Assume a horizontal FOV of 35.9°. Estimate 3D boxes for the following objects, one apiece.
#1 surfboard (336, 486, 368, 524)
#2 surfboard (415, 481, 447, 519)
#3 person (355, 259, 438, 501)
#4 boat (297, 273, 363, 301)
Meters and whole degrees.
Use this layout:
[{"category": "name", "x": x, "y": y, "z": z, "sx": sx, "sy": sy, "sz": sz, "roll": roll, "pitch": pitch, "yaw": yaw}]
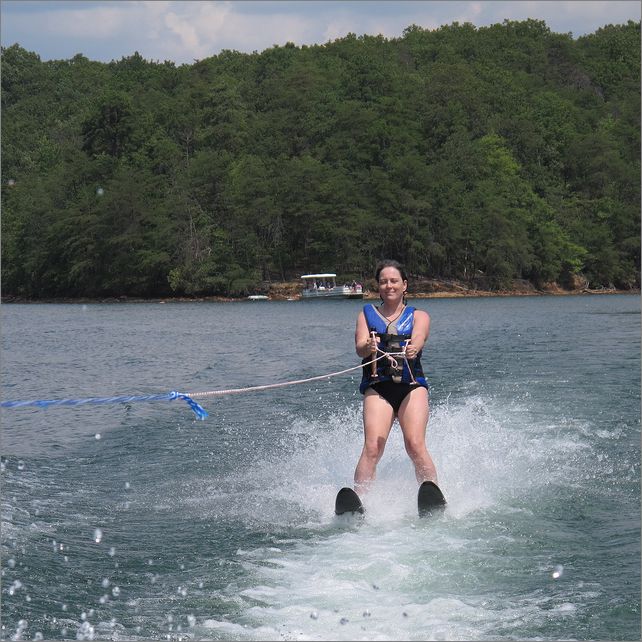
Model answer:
[{"category": "surfboard", "x": 0.190, "y": 1.348, "z": 7.320, "sx": 0.272, "sy": 0.235, "sz": 0.117, "roll": 3, "pitch": 6, "yaw": 33}, {"category": "surfboard", "x": 0.818, "y": 1.316, "z": 7.344, "sx": 0.193, "sy": 0.249, "sz": 0.123, "roll": 0, "pitch": 5, "yaw": 7}, {"category": "person", "x": 0.578, "y": 0.411, "z": 7.712, "sx": 0.611, "sy": 1.745, "sz": 0.746, "roll": 0, "pitch": 5, "yaw": 5}, {"category": "boat", "x": 0.505, "y": -1.937, "z": 55.977, "sx": 2.850, "sy": 1.450, "sz": 5.633, "roll": -2, "pitch": 5, "yaw": -10}]
